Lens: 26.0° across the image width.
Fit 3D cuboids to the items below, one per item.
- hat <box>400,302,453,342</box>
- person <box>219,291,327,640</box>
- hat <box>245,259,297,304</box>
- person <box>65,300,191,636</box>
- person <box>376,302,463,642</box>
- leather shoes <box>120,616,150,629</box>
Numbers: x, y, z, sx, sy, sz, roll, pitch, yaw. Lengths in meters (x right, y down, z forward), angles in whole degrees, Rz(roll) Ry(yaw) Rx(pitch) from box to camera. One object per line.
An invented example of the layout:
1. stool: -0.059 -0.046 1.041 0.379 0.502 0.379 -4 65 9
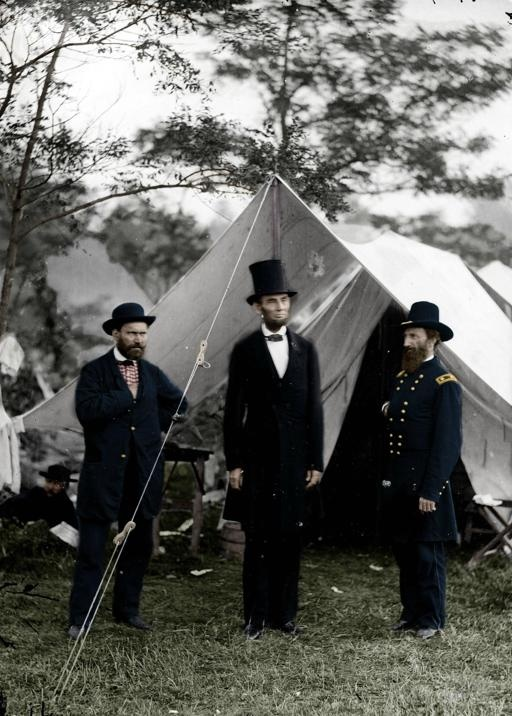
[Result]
1. hat: 0.922 -0.179 5.948 0.205 0.090 0.264 6 -15 27
2. person: 0.102 0.549 5.814 0.508 1.755 0.470 0 9 -15
3. hat: 0.077 -0.394 5.834 0.211 0.239 0.171 8 10 36
4. person: -0.732 0.594 5.804 0.438 1.754 0.767 7 10 26
5. person: 0.874 0.566 5.865 0.392 1.700 0.605 3 9 3
6. leather shoes: -0.632 1.394 5.853 0.178 0.055 0.055 0 -2 21
